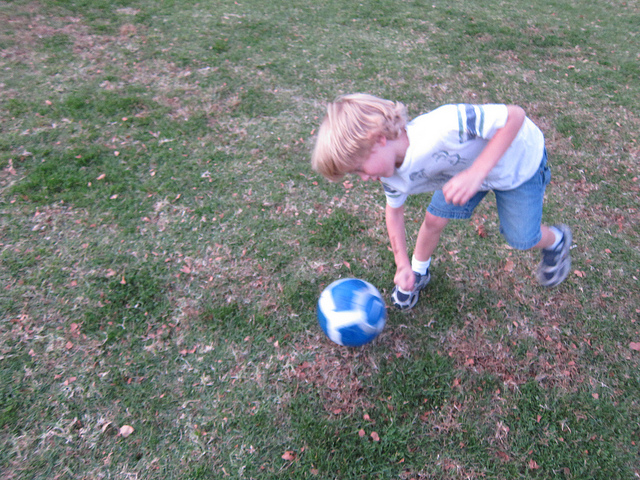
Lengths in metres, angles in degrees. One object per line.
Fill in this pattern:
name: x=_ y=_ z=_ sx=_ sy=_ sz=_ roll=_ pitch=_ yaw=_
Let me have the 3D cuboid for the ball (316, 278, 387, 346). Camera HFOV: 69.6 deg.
ball: x=0.258 y=0.594 z=3.729 sx=0.539 sy=0.374 sz=0.425 roll=2 pitch=48 yaw=-2

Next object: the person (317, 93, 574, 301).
person: x=1.017 y=-0.245 z=3.875 sx=1.275 sy=1.431 sz=0.860 roll=-33 pitch=47 yaw=-2
